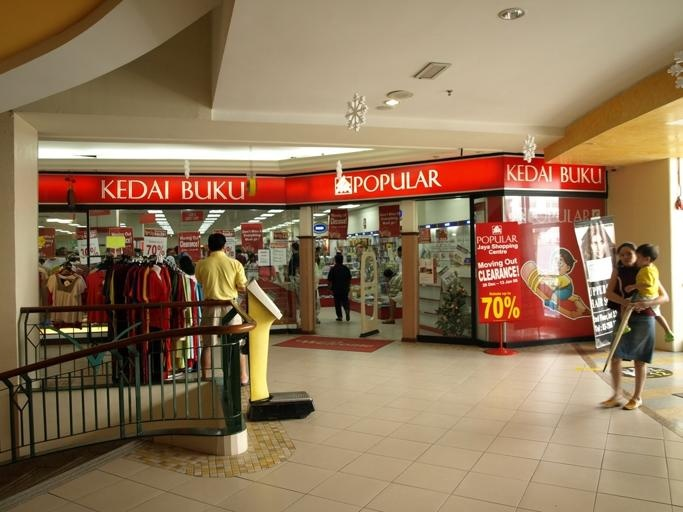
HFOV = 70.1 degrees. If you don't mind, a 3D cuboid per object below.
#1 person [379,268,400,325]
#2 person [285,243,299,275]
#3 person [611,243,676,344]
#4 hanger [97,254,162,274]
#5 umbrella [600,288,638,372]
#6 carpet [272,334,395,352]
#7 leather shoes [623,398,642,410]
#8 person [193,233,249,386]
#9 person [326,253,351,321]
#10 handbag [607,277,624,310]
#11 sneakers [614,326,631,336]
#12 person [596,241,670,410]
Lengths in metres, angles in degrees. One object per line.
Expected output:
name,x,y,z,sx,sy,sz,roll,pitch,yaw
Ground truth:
person,1.223,0.943,11.507,0.383,1.344,0.708,-2,2,1
person,-0.998,0.049,10.613,0.265,0.755,0.095,-2,2,4
person,3.621,0.449,5.827,0.751,1.090,0.485,8,4,19
hanger,-2.824,0.104,6.599,0.645,0.168,0.454,2,2,7
umbrella,3.315,0.899,5.796,0.313,0.873,0.348,-1,2,29
carpet,-0.092,1.704,9.548,2.070,0.032,1.265,0,4,22
leather shoes,3.373,1.721,5.666,0.272,0.081,0.096,1,-6,-39
person,-1.501,0.755,6.359,0.648,2.116,1.289,-3,2,-16
person,0.011,0.770,11.970,0.495,1.738,1.349,-2,2,0
handbag,3.433,0.466,6.070,0.150,0.401,0.284,5,-5,-26
sneakers,3.277,0.873,5.696,0.139,0.076,0.098,-14,-2,-4
person,3.493,0.801,5.770,0.666,1.962,0.559,0,-9,31
